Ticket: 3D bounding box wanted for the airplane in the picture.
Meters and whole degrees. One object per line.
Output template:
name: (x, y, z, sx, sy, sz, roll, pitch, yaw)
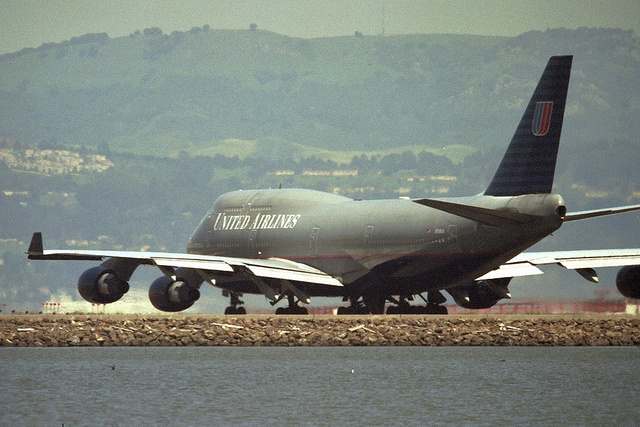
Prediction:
airplane: (3.449, -1.254, 68.908, 25.199, 12.570, 7.587, 8, 3, 13)
